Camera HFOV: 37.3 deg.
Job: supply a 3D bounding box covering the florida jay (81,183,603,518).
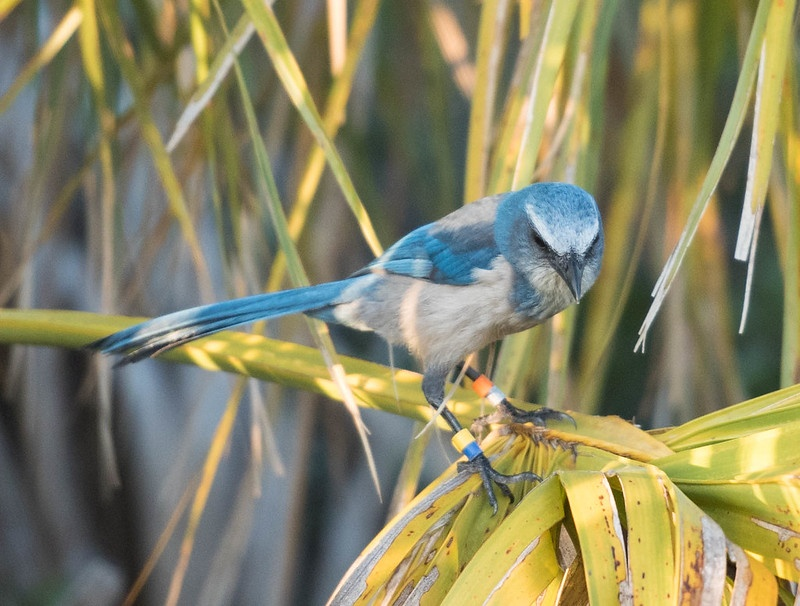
[{"bbox_3d":[-0.004,-0.014,4.298,1.462,0.791,0.467,-6,-49,10],"label":"florida jay"}]
